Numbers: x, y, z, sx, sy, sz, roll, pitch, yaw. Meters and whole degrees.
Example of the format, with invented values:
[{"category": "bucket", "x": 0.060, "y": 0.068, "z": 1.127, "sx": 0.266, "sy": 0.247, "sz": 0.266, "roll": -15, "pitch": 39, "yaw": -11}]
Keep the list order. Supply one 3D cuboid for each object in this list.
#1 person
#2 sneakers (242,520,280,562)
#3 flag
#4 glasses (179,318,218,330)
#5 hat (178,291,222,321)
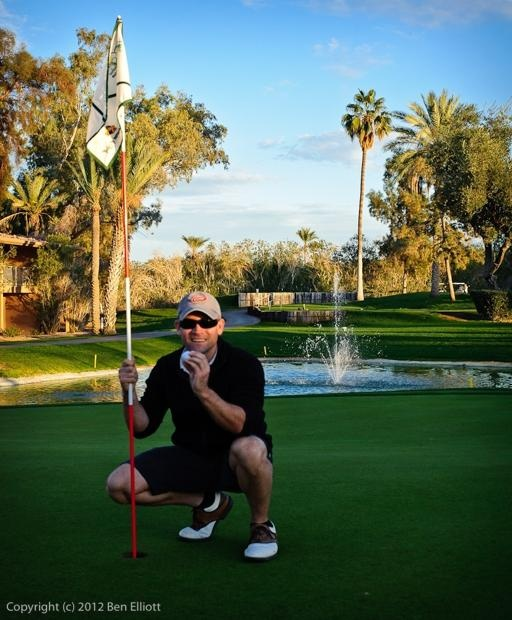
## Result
[{"category": "person", "x": -0.266, "y": 0.538, "z": 3.247, "sx": 0.942, "sy": 1.248, "sz": 0.755, "roll": -2, "pitch": -3, "yaw": 41}, {"category": "sneakers", "x": 0.029, "y": 1.059, "z": 2.972, "sx": 0.151, "sy": 0.124, "sz": 0.218, "roll": 0, "pitch": -2, "yaw": 3}, {"category": "flag", "x": -0.789, "y": -1.177, "z": 3.533, "sx": 0.167, "sy": 0.779, "sz": 0.474, "roll": 1, "pitch": -2, "yaw": -33}, {"category": "glasses", "x": -0.280, "y": 0.074, "z": 3.169, "sx": 0.170, "sy": 0.055, "sz": 0.072, "roll": 0, "pitch": -2, "yaw": -1}, {"category": "hat", "x": -0.278, "y": -0.013, "z": 3.225, "sx": 0.207, "sy": 0.148, "sz": 0.232, "roll": 0, "pitch": -2, "yaw": -6}]
